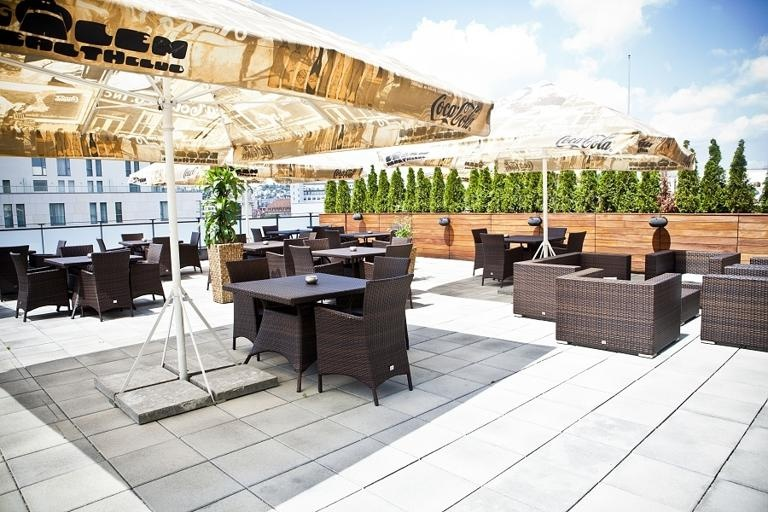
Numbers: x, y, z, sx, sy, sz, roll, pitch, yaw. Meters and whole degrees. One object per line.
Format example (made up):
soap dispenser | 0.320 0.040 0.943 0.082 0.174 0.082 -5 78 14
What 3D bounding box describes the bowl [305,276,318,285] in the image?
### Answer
bowl | -0.830 0.258 4.835 0.124 0.059 0.112 -1 -3 0
